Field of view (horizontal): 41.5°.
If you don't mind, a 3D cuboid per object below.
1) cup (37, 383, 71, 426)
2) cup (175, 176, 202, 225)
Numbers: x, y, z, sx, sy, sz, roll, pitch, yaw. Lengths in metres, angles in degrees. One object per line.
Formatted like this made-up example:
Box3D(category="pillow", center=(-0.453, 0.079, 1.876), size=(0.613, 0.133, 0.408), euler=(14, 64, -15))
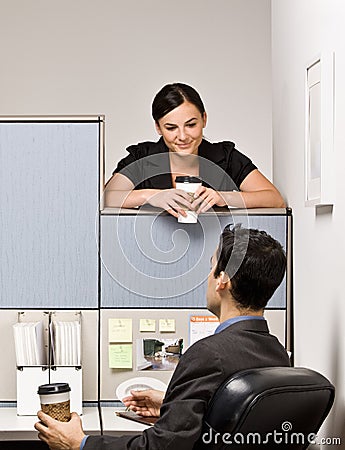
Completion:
Box3D(category="cup", center=(-0.308, 0.460, 1.205), size=(0.099, 0.101, 0.097), euler=(-2, -8, 0))
Box3D(category="cup", center=(0.060, -0.083, 1.682), size=(0.091, 0.164, 0.148), euler=(-1, -3, 1))
